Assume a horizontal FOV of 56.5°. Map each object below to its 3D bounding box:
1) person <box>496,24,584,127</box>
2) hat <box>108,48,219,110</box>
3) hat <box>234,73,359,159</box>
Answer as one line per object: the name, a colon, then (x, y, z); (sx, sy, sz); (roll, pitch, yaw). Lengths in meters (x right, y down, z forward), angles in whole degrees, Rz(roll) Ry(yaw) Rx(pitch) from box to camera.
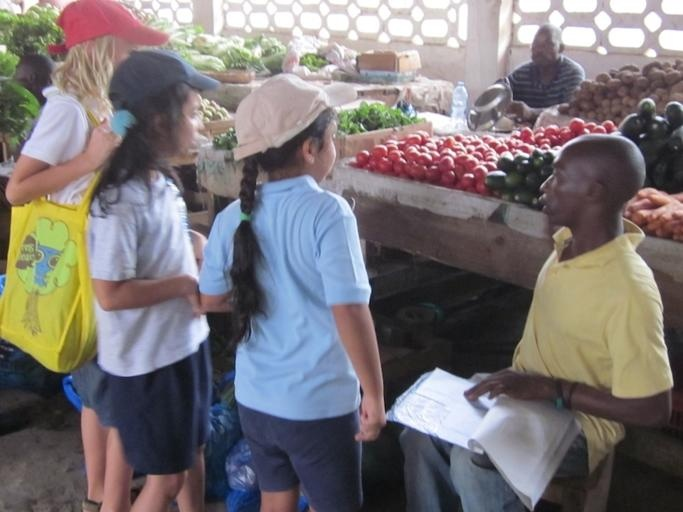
person: (1.944, -1.567, 6.247); (0.788, 1.380, 0.689); (9, 2, 16)
hat: (-0.690, -0.673, 2.431); (0.318, 0.170, 0.218); (-25, 17, -6)
hat: (-0.191, -0.560, 2.345); (0.542, 0.238, 0.350); (-25, 23, -32)
